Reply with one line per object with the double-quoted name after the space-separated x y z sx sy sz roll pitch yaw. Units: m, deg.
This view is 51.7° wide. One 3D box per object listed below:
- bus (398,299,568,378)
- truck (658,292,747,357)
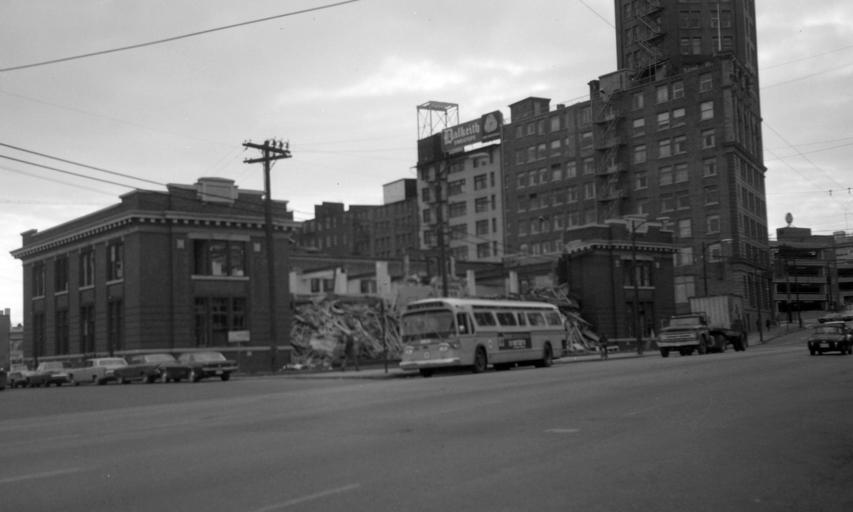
3.523 4.407 47.842 3.315 3.834 12.751 -12 -12 38 "bus"
18.661 5.192 59.011 3.997 3.701 11.032 -2 -2 32 "truck"
